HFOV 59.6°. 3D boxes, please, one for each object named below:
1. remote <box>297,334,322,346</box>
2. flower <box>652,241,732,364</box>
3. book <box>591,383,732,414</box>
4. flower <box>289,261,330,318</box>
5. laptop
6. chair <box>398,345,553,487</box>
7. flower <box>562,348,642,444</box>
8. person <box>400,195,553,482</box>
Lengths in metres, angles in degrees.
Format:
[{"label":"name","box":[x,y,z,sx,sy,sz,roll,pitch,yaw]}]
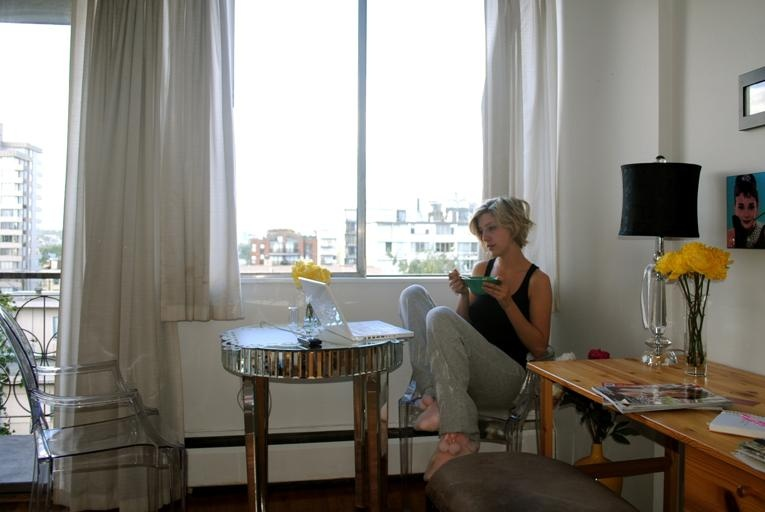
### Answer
[{"label":"remote","box":[-0.370,0.421,3.327,0.117,0.035,0.163,-4,5,-10]},{"label":"flower","box":[1.411,0.219,3.035,0.205,0.563,0.257,-6,6,-31]},{"label":"book","box":[1.172,0.597,2.842,0.534,0.077,0.208,-3,5,-1]},{"label":"flower","box":[-0.442,0.162,3.536,0.259,0.320,0.252,1,-1,-17]},{"label":"laptop","box":[-0.154,0.308,3.396,0.388,0.244,0.408,-1,-1,-25]},{"label":"chair","box":[0.467,0.890,3.784,0.779,0.910,0.651,3,-12,-6]},{"label":"flower","box":[1.154,0.750,3.650,0.463,0.487,0.471,-1,-1,32]},{"label":"person","box":[0.508,0.405,3.697,0.679,1.535,0.833,-2,-17,42]}]
